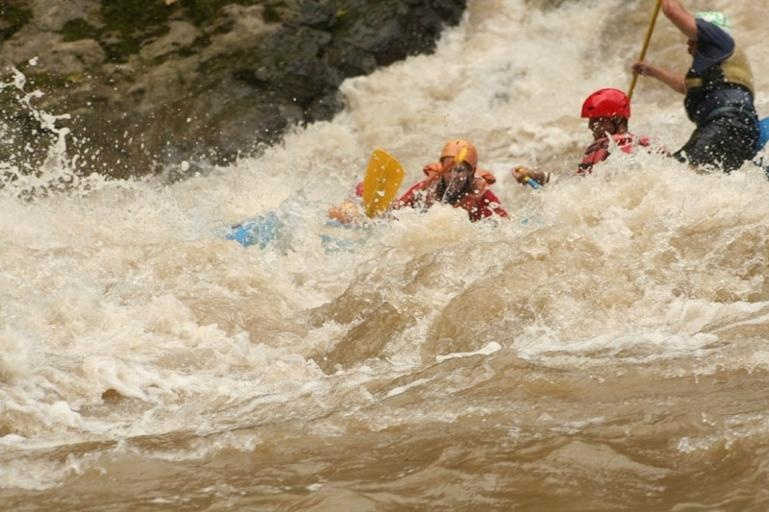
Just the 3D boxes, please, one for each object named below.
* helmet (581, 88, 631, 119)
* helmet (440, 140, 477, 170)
[{"bbox_3d":[2.385,-1.606,13.866,0.481,0.201,0.307,-5,16,2],"label":"helmet"},{"bbox_3d":[0.814,-1.026,14.073,0.322,0.361,0.271,12,56,5],"label":"helmet"}]
